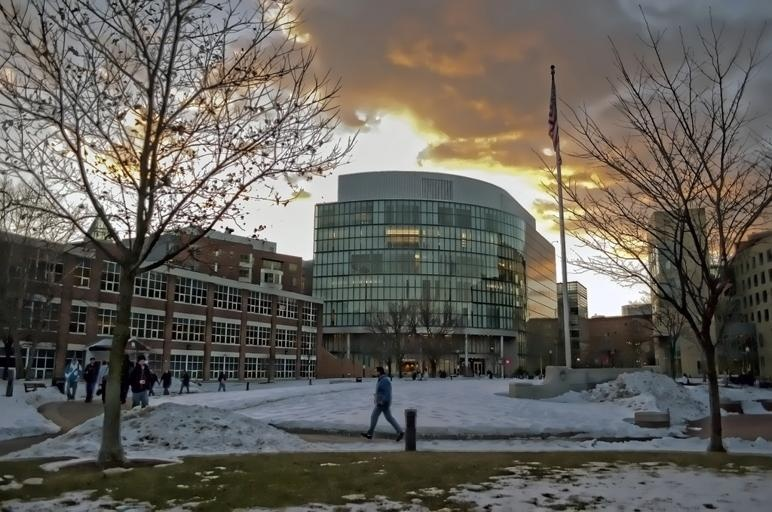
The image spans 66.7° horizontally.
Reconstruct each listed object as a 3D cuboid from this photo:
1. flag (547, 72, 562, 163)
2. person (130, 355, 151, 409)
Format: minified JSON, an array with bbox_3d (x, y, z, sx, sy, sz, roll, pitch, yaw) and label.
[{"bbox_3d":[9.449,-8.309,32.942,0.521,4.320,0.511,-10,14,-13],"label":"flag"},{"bbox_3d":[-10.445,5.563,25.104,0.717,2.606,0.811,-1,-3,45],"label":"person"}]
